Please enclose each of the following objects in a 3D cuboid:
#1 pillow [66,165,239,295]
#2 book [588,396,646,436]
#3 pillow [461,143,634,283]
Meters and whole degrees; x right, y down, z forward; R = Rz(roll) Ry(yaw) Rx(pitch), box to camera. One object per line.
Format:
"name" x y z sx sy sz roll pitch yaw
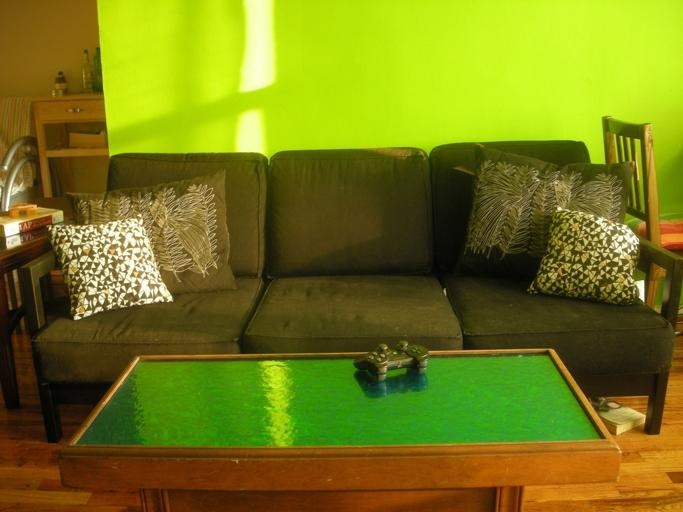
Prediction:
"pillow" -0.758 -0.109 2.622 0.730 0.556 0.196 -11 1 -20
"book" 1.218 0.684 2.487 0.225 0.044 0.204 -6 19 -21
"pillow" 0.936 -0.174 2.583 0.731 0.494 0.256 8 -26 10
